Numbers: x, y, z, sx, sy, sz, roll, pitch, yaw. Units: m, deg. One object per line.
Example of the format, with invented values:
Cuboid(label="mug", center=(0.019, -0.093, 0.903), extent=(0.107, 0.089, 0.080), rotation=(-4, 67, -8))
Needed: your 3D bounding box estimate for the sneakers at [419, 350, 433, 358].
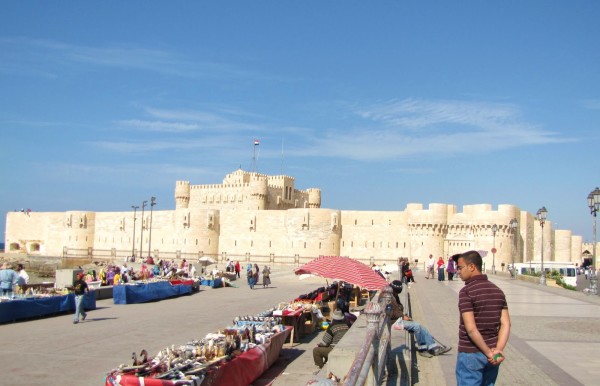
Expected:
Cuboid(label="sneakers", center=(3.760, 4.822, 19.460), extent=(0.416, 0.262, 0.148), rotation=(-9, 9, 34))

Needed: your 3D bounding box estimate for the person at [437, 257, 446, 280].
Cuboid(label="person", center=(8.959, 4.778, 40.980), extent=(0.402, 1.424, 1.991), rotation=(-2, -7, 14))

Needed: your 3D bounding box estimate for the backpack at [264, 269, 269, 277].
Cuboid(label="backpack", center=(-1.934, 4.533, 37.036), extent=(0.303, 0.636, 0.460), rotation=(1, -7, -13))

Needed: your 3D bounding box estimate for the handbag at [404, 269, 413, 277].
Cuboid(label="handbag", center=(5.806, 4.286, 34.435), extent=(0.489, 0.216, 0.639), rotation=(-2, -1, 9))
